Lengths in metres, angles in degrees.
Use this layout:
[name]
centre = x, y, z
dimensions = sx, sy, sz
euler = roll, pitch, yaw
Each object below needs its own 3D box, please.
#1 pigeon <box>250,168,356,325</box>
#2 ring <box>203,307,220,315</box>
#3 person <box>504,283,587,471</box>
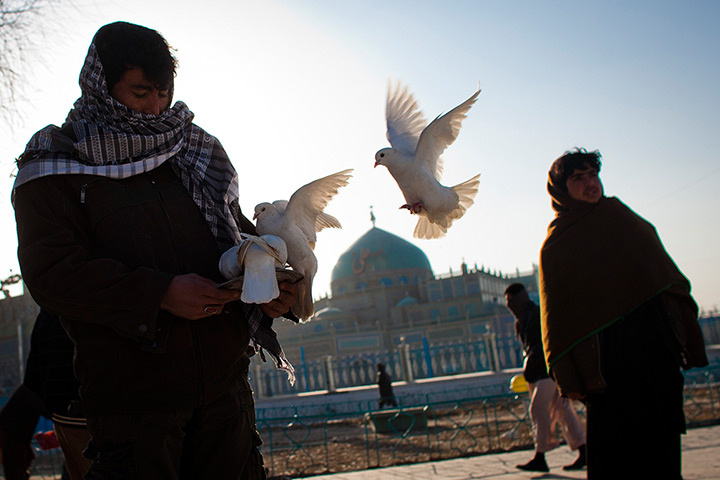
[pigeon]
centre = -0.272, 0.036, 3.154
dimensions = 0.263, 0.674, 0.568
euler = 1, -9, -31
[ring]
centre = -0.575, 0.274, 2.655
dimensions = 0.044, 0.016, 0.034
euler = -1, 3, 34
[person]
centre = 1.472, 1.177, 5.772
dimensions = 0.684, 1.660, 0.658
euler = -3, -2, 45
